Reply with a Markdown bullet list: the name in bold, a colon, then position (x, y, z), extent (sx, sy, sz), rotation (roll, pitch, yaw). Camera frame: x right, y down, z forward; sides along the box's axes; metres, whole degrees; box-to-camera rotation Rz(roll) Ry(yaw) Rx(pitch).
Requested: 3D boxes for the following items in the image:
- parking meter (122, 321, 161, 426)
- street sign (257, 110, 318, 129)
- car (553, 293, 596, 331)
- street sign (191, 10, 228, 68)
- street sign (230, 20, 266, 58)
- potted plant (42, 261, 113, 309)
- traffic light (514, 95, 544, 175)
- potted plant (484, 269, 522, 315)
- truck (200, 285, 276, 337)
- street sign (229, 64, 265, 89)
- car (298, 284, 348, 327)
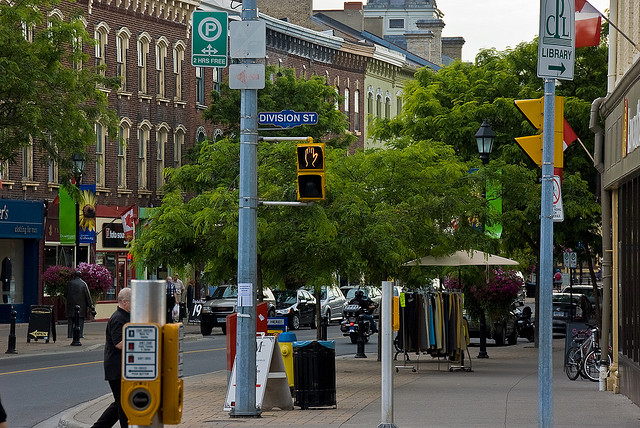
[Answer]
- **parking meter**: position (-2.705, 2.424, 16.890), extent (0.590, 1.574, 0.307), rotation (-1, -6, -10)
- **street sign**: position (-0.689, -2.085, 23.602), extent (1.249, 0.412, 0.619), rotation (-2, -7, -3)
- **car**: position (10.054, 4.150, 43.911), extent (1.592, 1.387, 3.946), rotation (-1, 0, 15)
- **street sign**: position (-2.307, -3.726, 23.298), extent (0.728, 1.365, 0.742), rotation (-1, -7, -8)
- **street sign**: position (-1.500, -3.686, 23.305), extent (0.782, 0.872, 0.083), rotation (0, -1, -7)
- **potted plant**: position (-9.726, 2.540, 44.481), extent (2.139, 1.793, 1.733), rotation (0, -10, -10)
- **traffic light**: position (3.906, -1.492, 20.598), extent (0.454, 1.304, 0.406), rotation (0, -2, -7)
- **potted plant**: position (6.319, 2.661, 38.412), extent (1.302, 1.570, 1.369), rotation (0, -1, 44)
- **truck**: position (-3.312, 3.943, 46.608), extent (2.060, 2.180, 4.567), rotation (-3, -5, 14)
- **street sign**: position (-1.509, -2.918, 23.312), extent (0.508, 0.401, 0.083), rotation (1, 4, 9)
- **car**: position (0.193, 4.149, 50.239), extent (1.510, 1.419, 3.101), rotation (-1, -6, 16)
